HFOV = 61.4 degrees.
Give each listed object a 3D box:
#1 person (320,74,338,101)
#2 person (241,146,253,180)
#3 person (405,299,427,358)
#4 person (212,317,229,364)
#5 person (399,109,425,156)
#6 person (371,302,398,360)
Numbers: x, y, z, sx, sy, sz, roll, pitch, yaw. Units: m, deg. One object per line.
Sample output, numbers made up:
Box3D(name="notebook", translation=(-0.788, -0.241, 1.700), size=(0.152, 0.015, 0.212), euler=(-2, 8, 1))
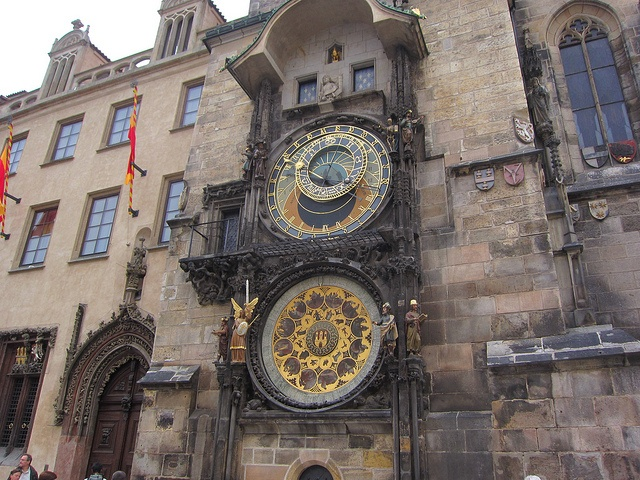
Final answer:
Box3D(name="person", translation=(0.293, -4.956, 17.650), size=(0.767, 1.112, 0.363), euler=(-11, -36, 18))
Box3D(name="person", translation=(-2.388, -2.475, 17.509), size=(0.230, 1.254, 0.583), euler=(6, -23, -24))
Box3D(name="person", translation=(2.347, 2.167, 13.272), size=(0.463, 1.294, 0.458), euler=(5, -22, -22))
Box3D(name="person", translation=(-2.832, 2.905, 15.242), size=(0.492, 1.500, 0.500), euler=(1, -38, -10))
Box3D(name="person", translation=(2.556, -3.138, 15.661), size=(0.859, 1.273, 0.315), euler=(2, -18, 13))
Box3D(name="person", translation=(1.648, 2.278, 13.482), size=(0.512, 1.288, 0.416), euler=(-17, -24, 31))
